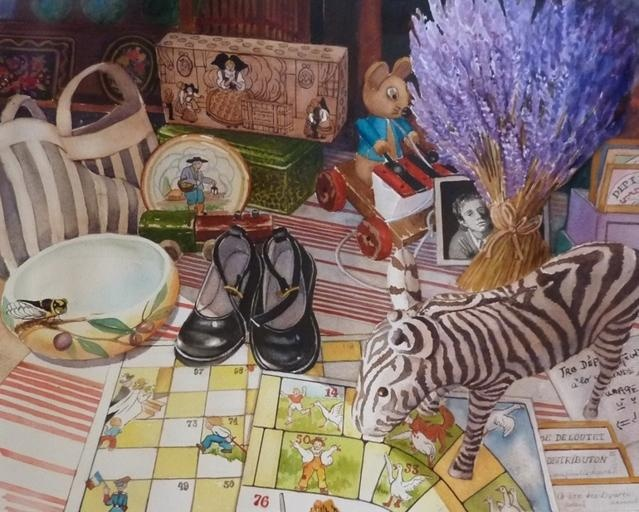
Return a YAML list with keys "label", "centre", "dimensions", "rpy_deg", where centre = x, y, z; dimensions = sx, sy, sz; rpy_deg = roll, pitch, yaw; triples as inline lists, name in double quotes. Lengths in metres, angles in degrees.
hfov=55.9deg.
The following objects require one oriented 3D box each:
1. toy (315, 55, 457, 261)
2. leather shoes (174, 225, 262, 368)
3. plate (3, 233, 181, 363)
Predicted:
- label: "toy"
  centre: [0.277, -0.425, 2.352]
  dimensions: [0.560, 0.634, 0.513]
  rpy_deg: [30, 44, 29]
- label: "leather shoes"
  centre: [-0.319, 0.171, 2.084]
  dimensions: [0.224, 0.173, 0.495]
  rpy_deg: [13, 68, 5]
- label: "plate"
  centre: [-0.755, 0.125, 2.034]
  dimensions: [0.556, 0.189, 0.426]
  rpy_deg: [-9, 39, -11]
